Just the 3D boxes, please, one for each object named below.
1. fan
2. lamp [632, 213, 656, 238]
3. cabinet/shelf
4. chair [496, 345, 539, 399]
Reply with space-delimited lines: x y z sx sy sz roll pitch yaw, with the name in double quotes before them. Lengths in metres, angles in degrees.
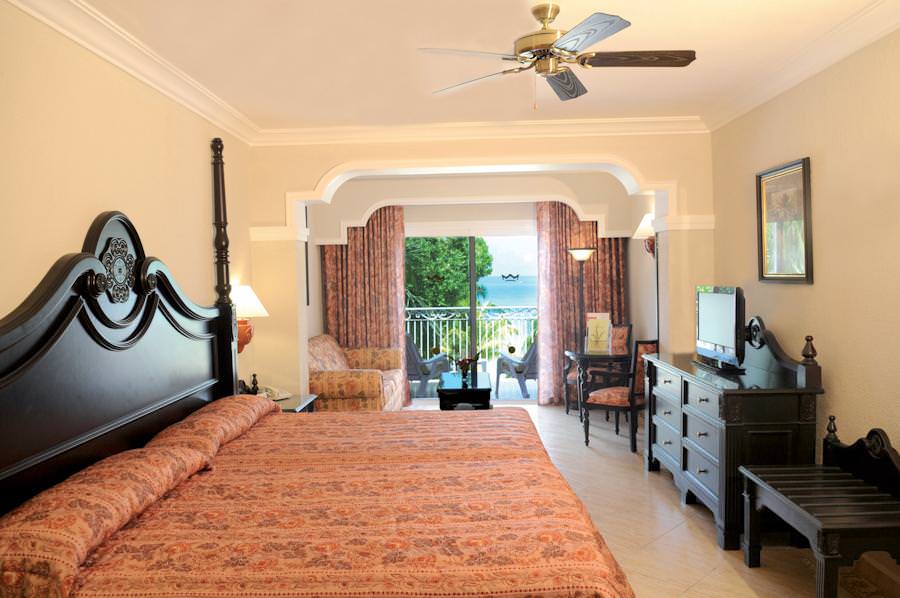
"fan" 0.647 -1.324 3.124 0.827 0.190 0.749 3 -8 -24
"lamp" 2.072 -0.767 6.241 0.286 0.208 0.299 0 4 3
"cabinet/shelf" 2.028 0.972 4.119 0.616 1.349 1.596 1 -1 5
"chair" 0.983 1.063 8.316 0.681 0.865 0.783 0 -8 3
